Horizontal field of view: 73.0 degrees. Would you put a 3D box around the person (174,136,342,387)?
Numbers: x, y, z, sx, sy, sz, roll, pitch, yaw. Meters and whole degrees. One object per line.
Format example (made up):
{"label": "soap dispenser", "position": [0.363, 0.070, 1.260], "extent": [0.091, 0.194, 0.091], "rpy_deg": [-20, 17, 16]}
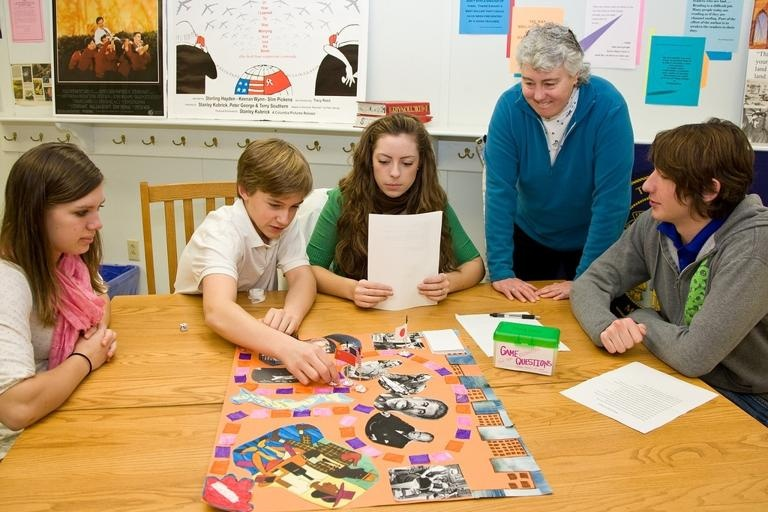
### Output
{"label": "person", "position": [-0.428, 0.014, 1.814], "extent": [0.458, 0.772, 0.921], "rpy_deg": [-3, 21, -24]}

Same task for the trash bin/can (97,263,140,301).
{"label": "trash bin/can", "position": [-1.441, 0.140, 2.824], "extent": [0.158, 0.182, 0.148], "rpy_deg": [6, 22, -41]}
